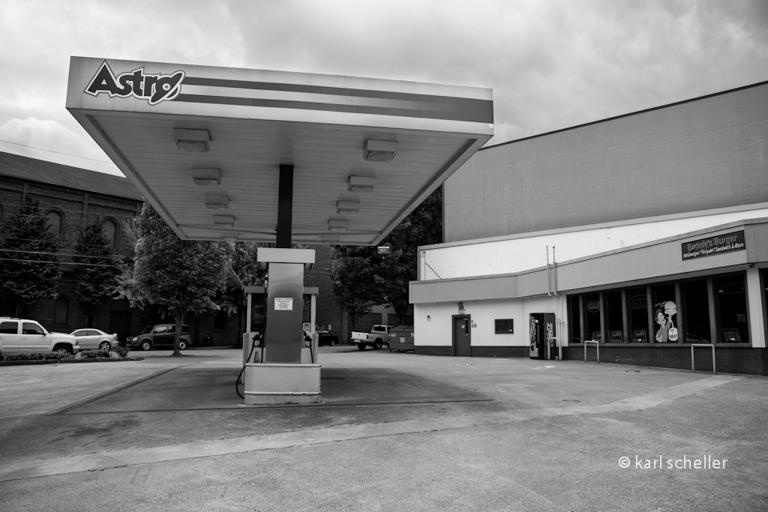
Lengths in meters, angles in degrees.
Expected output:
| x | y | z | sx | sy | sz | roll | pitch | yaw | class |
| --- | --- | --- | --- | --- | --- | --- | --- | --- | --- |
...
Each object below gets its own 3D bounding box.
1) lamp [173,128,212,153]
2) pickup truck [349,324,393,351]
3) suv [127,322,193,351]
| x | y | z | sx | sy | sz | roll | pitch | yaw | class |
| --- | --- | --- | --- | --- | --- | --- | --- | --- | --- |
| -4.455 | -2.715 | 12.877 | 0.784 | 0.289 | 0.637 | 3 | -12 | -10 | lamp |
| -1.174 | 6.868 | 46.053 | 1.745 | 1.540 | 3.260 | -5 | -7 | 43 | pickup truck |
| -17.047 | 5.996 | 41.500 | 2.945 | 2.380 | 6.208 | -2 | -12 | 11 | suv |
